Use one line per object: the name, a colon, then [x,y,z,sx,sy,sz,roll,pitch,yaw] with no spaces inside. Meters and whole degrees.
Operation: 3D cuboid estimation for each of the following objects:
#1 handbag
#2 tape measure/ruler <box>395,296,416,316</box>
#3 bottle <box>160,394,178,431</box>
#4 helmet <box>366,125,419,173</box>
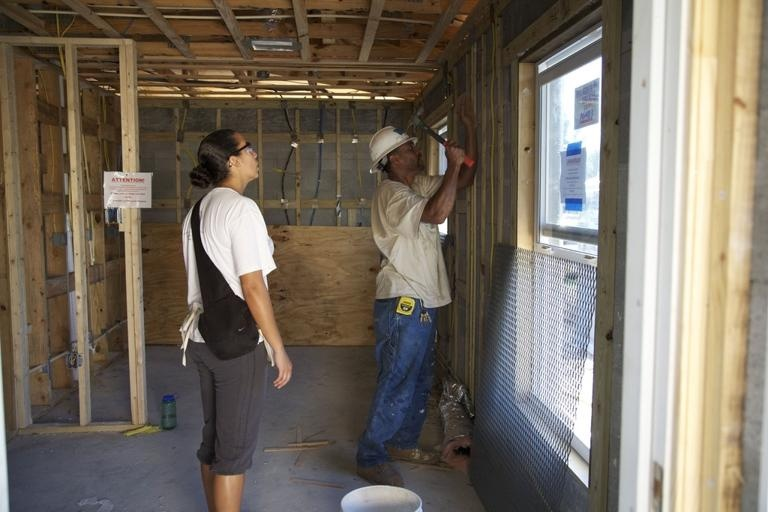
handbag: [-0.764,0.110,2.678,0.310,0.704,0.164,3,9,37]
tape measure/ruler: [0.132,0.287,3.397,0.102,0.105,0.012,14,1,4]
bottle: [-1.577,1.121,4.244,0.116,0.230,0.167,-5,7,-22]
helmet: [0.009,-0.679,3.612,0.316,0.160,0.306,-35,2,8]
